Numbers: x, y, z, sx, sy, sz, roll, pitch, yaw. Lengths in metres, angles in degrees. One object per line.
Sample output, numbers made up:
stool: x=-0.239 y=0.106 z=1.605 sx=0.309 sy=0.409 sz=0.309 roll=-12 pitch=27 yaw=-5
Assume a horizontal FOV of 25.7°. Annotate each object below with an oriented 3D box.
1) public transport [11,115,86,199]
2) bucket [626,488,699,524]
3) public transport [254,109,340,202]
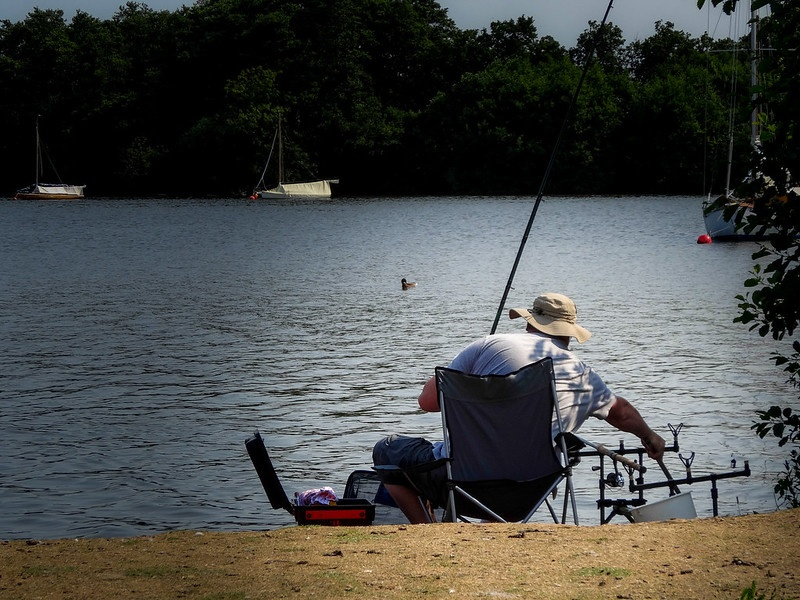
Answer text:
public transport: x=-23.726 y=-9.602 z=118.765 sx=4.565 sy=5.805 sz=10.276 roll=2 pitch=4 yaw=-10
bucket: x=5.146 y=4.011 z=33.938 sx=1.266 sy=0.586 sz=0.407 roll=3 pitch=4 yaw=8
public transport: x=-7.182 y=-9.318 z=115.812 sx=4.788 sy=5.585 sz=4.712 roll=2 pitch=4 yaw=-20
